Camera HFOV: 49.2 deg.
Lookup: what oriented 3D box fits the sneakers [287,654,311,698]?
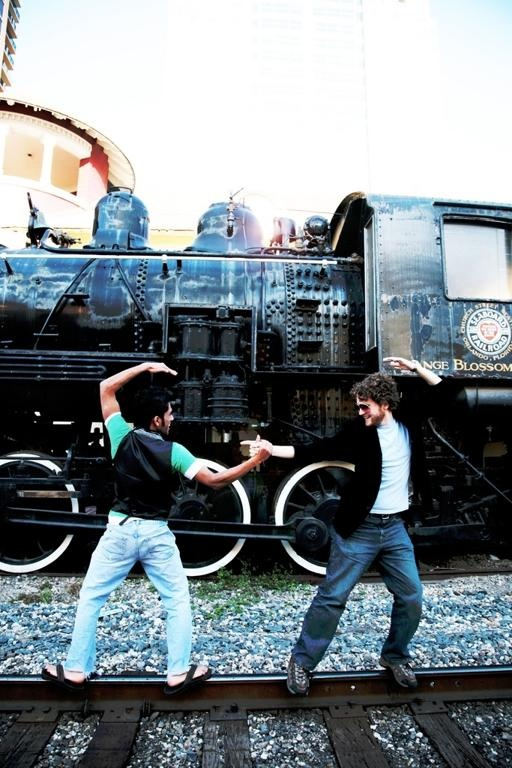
[{"bbox_3d":[0.207,1.479,2.810,0.100,0.174,0.106,0,0,9],"label":"sneakers"}]

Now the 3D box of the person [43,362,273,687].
[{"bbox_3d":[-0.583,0.710,2.937,0.918,1.691,0.456,0,0,1],"label":"person"}]

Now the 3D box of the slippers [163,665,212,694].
[{"bbox_3d":[-0.340,1.471,2.782,0.221,0.073,0.114,-6,4,-34],"label":"slippers"}]

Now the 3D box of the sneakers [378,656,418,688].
[{"bbox_3d":[0.745,1.507,2.942,0.088,0.072,0.204,-33,13,-16],"label":"sneakers"}]
